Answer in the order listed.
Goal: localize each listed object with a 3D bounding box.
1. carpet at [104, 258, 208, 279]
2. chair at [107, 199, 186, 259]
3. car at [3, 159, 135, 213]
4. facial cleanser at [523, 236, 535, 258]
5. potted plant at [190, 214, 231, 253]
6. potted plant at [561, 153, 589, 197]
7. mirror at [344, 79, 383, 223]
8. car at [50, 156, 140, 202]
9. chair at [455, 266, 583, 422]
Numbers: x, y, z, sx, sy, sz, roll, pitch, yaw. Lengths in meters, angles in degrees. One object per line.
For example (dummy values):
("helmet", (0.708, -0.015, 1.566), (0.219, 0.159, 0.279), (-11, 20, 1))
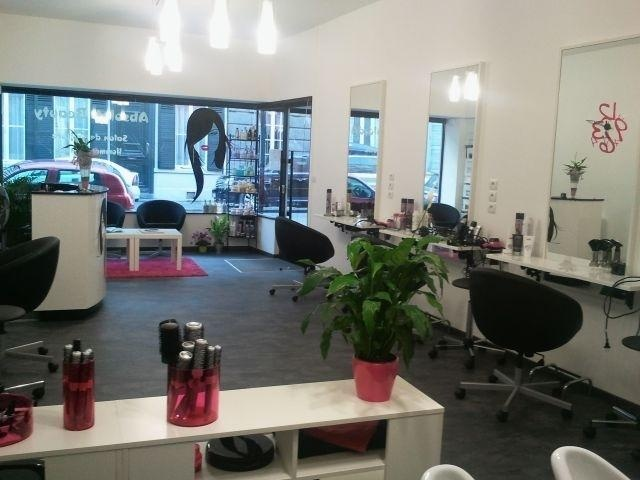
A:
("carpet", (-2.740, 0.453, 7.853), (1.483, 0.070, 1.601), (-2, 11, -24))
("chair", (-3.331, -0.162, 9.223), (1.073, 1.324, 1.136), (0, -1, -20))
("car", (-3.941, -0.850, 7.248), (1.955, 0.698, 0.903), (8, 6, -14))
("facial cleanser", (1.978, 0.063, 4.487), (0.089, 0.192, 0.128), (6, 10, 22))
("potted plant", (-2.260, -0.087, 9.776), (0.690, 0.806, 0.764), (-2, 10, -15))
("potted plant", (2.268, -0.553, 4.192), (0.261, 0.356, 0.263), (-2, 5, -20))
("mirror", (0.627, -1.316, 6.861), (0.230, 1.849, 0.893), (-2, 10, -23))
("car", (-4.355, -1.147, 9.022), (1.613, 0.751, 0.753), (5, 6, -8))
("chair", (1.676, 0.886, 3.877), (0.952, 1.217, 0.935), (-6, 10, -36))
